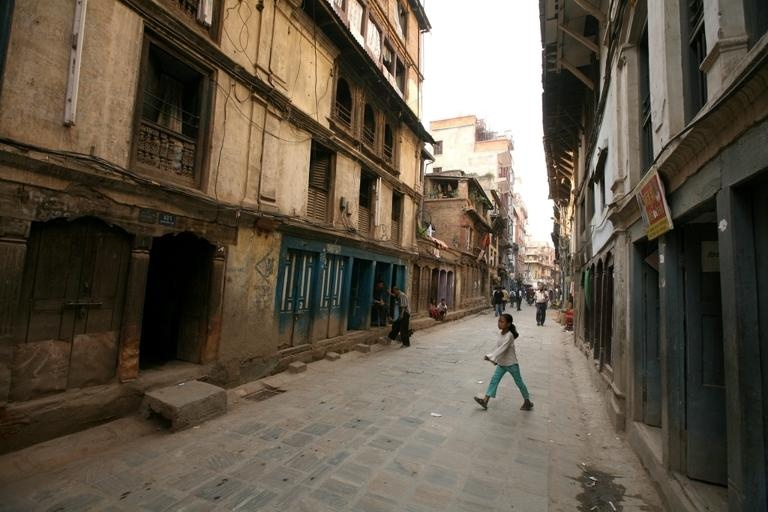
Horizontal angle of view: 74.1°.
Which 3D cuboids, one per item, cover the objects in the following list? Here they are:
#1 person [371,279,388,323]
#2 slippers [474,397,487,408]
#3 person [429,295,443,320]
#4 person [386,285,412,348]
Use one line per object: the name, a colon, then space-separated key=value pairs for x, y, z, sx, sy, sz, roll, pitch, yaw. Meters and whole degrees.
person: x=-0.157 y=1.537 z=16.779 sx=0.503 sy=1.549 sz=1.256 roll=1 pitch=7 yaw=-1
slippers: x=1.885 y=2.844 z=9.957 sx=0.252 sy=0.233 sz=0.292 roll=3 pitch=7 yaw=12
person: x=2.296 y=2.310 z=22.066 sx=0.754 sy=0.807 sz=1.134 roll=2 pitch=5 yaw=8
person: x=0.446 y=1.840 z=15.782 sx=0.620 sy=1.890 sz=1.072 roll=1 pitch=7 yaw=0
